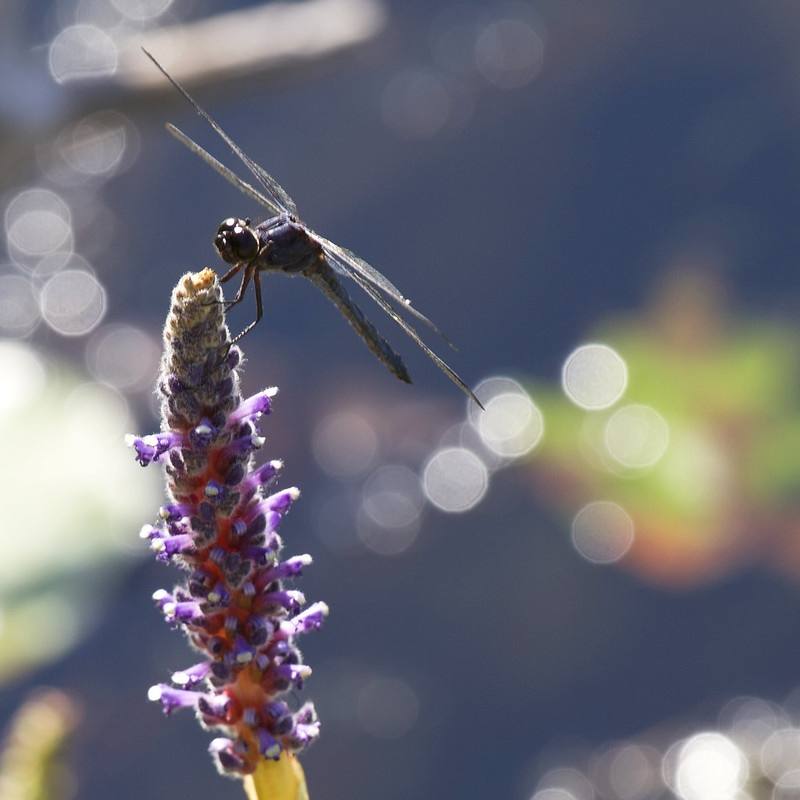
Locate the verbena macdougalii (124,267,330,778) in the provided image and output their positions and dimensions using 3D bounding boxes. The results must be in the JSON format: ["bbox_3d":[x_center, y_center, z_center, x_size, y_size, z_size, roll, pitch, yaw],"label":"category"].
[{"bbox_3d":[-0.219,0.166,1.891,0.234,0.244,0.628,-3,-66,0],"label":"verbena macdougalii"}]
